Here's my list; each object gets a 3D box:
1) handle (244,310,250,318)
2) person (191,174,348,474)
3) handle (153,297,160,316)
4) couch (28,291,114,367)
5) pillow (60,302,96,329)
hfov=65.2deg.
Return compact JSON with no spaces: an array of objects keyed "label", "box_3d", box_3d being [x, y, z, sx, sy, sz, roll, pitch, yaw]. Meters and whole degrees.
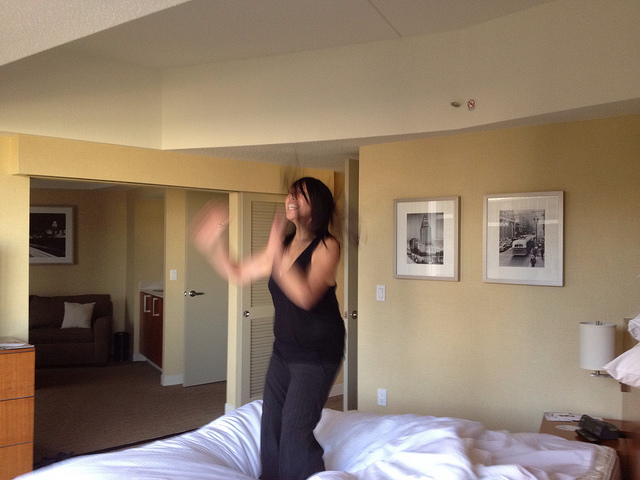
[{"label":"handle","box_3d":[-0.760,0.765,5.173,0.056,0.046,0.058,-3,4,-30]},{"label":"person","box_3d":[-0.224,0.434,2.763,0.722,1.440,0.936,2,0,1]},{"label":"handle","box_3d":[-2.152,0.877,6.576,0.032,0.223,0.231,2,1,-31]},{"label":"couch","box_3d":[-3.546,1.251,6.905,1.125,0.973,1.075,6,-10,-40]},{"label":"pillow","box_3d":[-3.308,1.038,6.840,0.294,0.309,0.111,1,-32,-11]}]
